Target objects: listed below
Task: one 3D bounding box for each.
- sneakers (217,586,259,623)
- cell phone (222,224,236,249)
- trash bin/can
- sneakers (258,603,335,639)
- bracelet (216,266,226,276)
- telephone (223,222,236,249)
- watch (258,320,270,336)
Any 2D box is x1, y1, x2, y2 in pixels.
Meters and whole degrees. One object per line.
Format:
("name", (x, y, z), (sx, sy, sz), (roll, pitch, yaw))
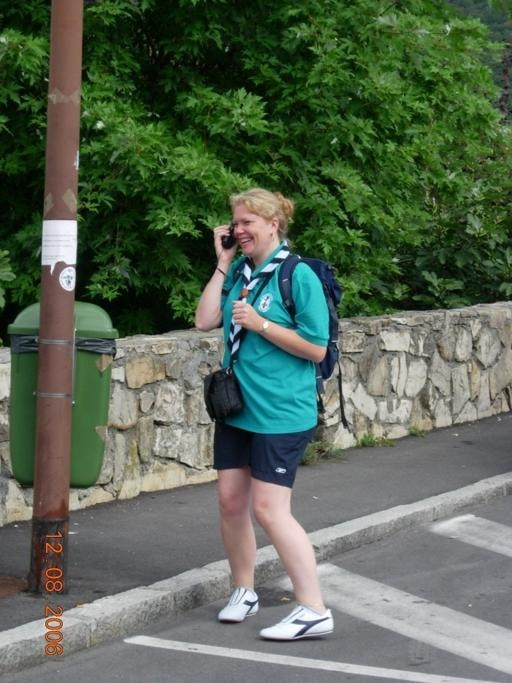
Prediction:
("sneakers", (-0.086, 1.245, 5.168), (0.102, 0.100, 0.265), (5, 1, 27))
("cell phone", (-0.133, -0.486, 5.264), (0.054, 0.106, 0.084), (5, -8, -23))
("trash bin/can", (-0.924, 0.292, 5.317), (0.504, 0.929, 0.297), (2, 6, -11))
("sneakers", (0.189, 1.264, 4.930), (0.398, 0.146, 0.124), (-1, -2, -6))
("bracelet", (-0.167, -0.319, 5.227), (0.041, 0.012, 0.039), (37, 7, 2))
("telephone", (-0.128, -0.489, 5.255), (0.048, 0.105, 0.085), (7, -8, -33))
("watch", (0.032, -0.044, 4.731), (0.055, 0.076, 0.054), (3, 5, -2))
